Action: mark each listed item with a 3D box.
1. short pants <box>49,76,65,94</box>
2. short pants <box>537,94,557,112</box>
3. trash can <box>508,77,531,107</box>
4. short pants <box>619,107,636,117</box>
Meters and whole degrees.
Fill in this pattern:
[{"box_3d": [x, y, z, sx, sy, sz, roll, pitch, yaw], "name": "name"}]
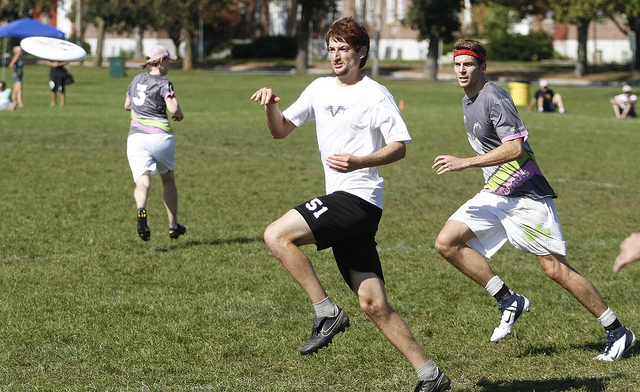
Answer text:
[{"box_3d": [-8.652, -3.691, 32.240, 0.467, 0.554, 0.531, -4, 10, -15], "name": "short pants"}, {"box_3d": [9.153, -3.762, 39.391, 0.795, 0.757, 0.308, -8, 11, -32], "name": "short pants"}, {"box_3d": [8.752, -4.495, 42.963, 0.797, 1.031, 1.633, 1, 11, 15], "name": "trash can"}, {"box_3d": [11.945, -3.263, 38.053, 0.588, 0.381, 0.467, 2, 10, 18], "name": "short pants"}]
